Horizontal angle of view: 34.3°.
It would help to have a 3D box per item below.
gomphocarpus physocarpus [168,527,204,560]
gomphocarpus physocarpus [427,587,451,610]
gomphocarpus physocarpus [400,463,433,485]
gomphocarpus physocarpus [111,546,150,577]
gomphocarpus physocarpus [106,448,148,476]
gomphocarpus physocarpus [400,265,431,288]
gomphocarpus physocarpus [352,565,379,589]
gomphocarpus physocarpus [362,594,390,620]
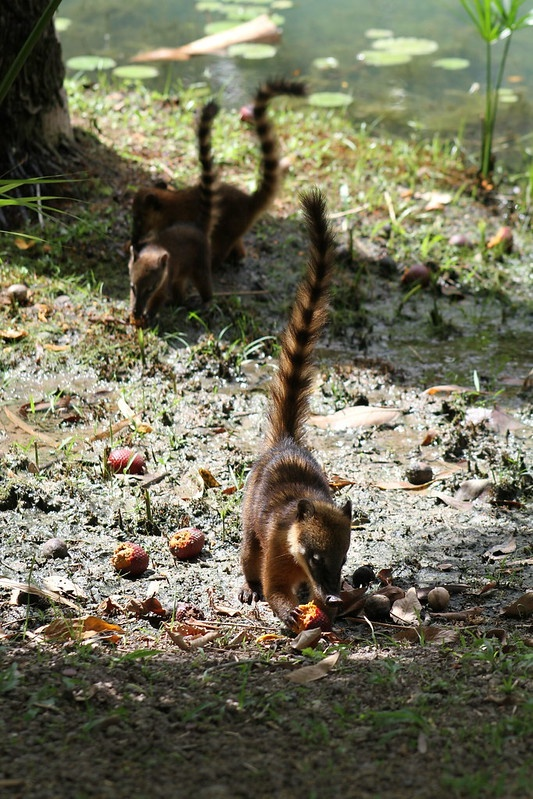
[{"bbox_3d":[-0.346,0.612,3.644,0.132,0.086,0.140,-19,1,-11],"label":"gomphocarpus physocarpus"},{"bbox_3d":[0.645,0.748,3.235,0.088,0.077,0.090,-2,57,5],"label":"gomphocarpus physocarpus"},{"bbox_3d":[0.756,0.370,4.293,0.113,0.096,0.107,-4,-7,13],"label":"gomphocarpus physocarpus"},{"bbox_3d":[-0.555,0.649,3.497,0.152,0.128,0.109,-2,11,-16],"label":"gomphocarpus physocarpus"},{"bbox_3d":[-0.690,0.304,4.182,0.162,0.106,0.112,4,6,0],"label":"gomphocarpus physocarpus"},{"bbox_3d":[1.190,-0.979,6.843,0.242,0.185,0.211,3,11,8],"label":"gomphocarpus physocarpus"},{"bbox_3d":[0.384,0.711,3.447,0.088,0.085,0.095,29,40,-13],"label":"gomphocarpus physocarpus"},{"bbox_3d":[0.414,0.786,3.235,0.095,0.086,0.093,0,4,-32],"label":"gomphocarpus physocarpus"}]
